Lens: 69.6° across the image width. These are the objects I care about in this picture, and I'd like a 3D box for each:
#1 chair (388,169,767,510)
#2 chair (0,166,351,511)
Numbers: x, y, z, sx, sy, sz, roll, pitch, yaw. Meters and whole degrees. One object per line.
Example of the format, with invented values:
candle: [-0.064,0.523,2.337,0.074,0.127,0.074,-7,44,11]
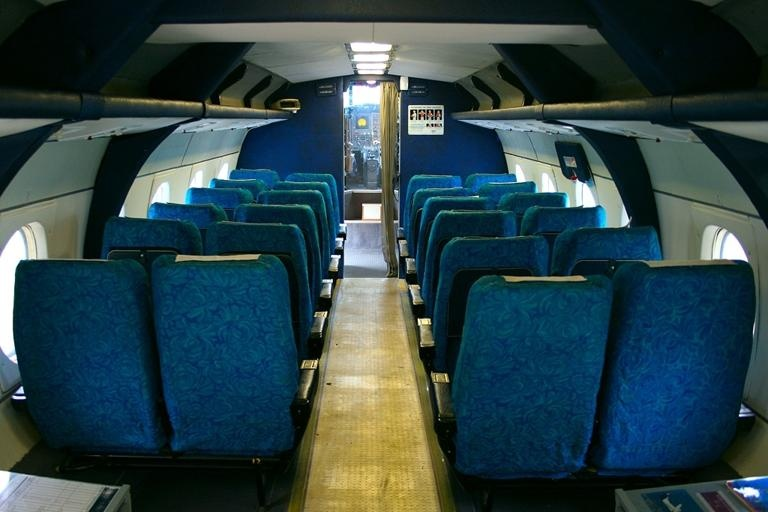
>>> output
chair: [1.301,0.540,4.141,2.042,1.522,1.906,0,-4,1]
chair: [-1.412,0.535,4.606,1.893,1.517,2.437,1,3,0]
